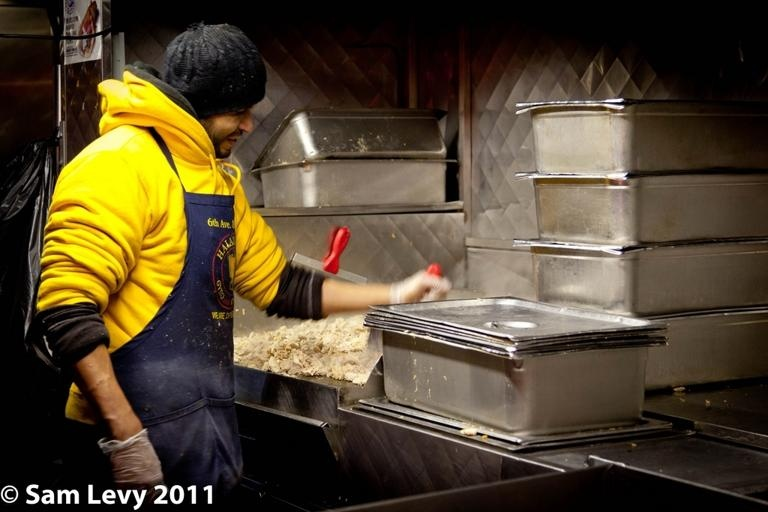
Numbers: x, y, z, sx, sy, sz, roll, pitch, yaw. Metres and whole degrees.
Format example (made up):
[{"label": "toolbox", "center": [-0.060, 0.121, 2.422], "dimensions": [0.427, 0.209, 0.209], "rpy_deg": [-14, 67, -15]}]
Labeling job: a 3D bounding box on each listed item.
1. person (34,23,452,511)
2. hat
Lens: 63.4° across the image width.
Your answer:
[{"label": "person", "center": [-0.382, -0.099, 2.654], "dimensions": [1.342, 2.288, 1.080], "rpy_deg": [-1, 8, -7]}, {"label": "hat", "center": [-0.512, -0.513, 1.782], "dimensions": [0.287, 0.230, 0.226], "rpy_deg": [1, 23, 30]}]
